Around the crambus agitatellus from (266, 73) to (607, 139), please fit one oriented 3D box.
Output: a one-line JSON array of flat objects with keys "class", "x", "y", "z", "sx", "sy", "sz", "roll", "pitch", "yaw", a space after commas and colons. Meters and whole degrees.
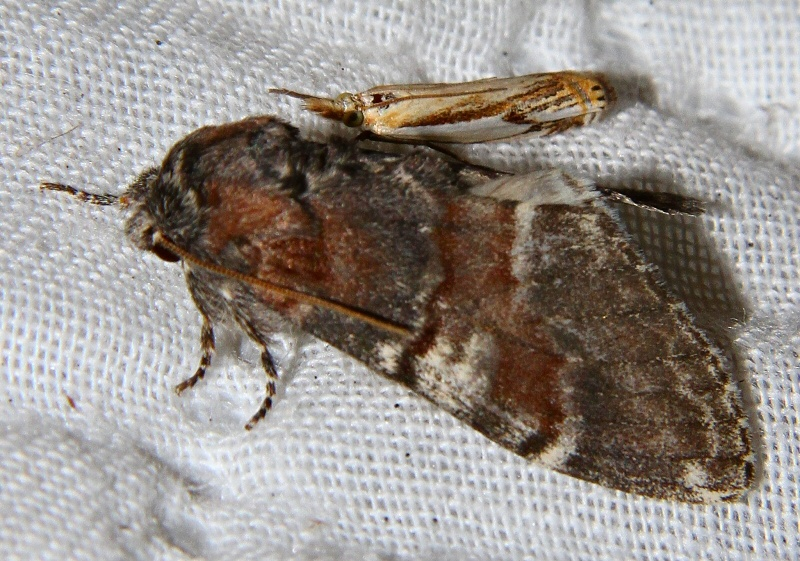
[{"class": "crambus agitatellus", "x": 0.157, "y": -0.588, "z": 3.751, "sx": 1.140, "sy": 0.382, "sz": 0.188, "roll": -1, "pitch": -66, "yaw": 5}]
